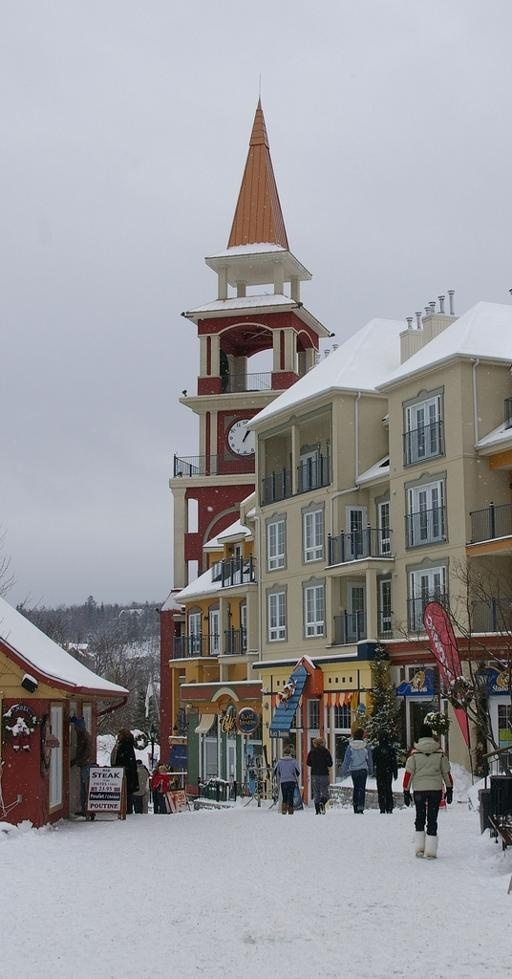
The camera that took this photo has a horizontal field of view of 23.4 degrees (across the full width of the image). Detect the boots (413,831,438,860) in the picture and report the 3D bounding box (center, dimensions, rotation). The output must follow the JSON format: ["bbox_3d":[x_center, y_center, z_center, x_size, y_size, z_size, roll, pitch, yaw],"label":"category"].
[{"bbox_3d":[1.961,4.112,14.317,0.207,0.319,0.317,2,-26,0],"label":"boots"}]

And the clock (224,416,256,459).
[{"bbox_3d":[-0.674,-2.249,54.219,1.531,2.060,0.245,1,-10,28],"label":"clock"}]
